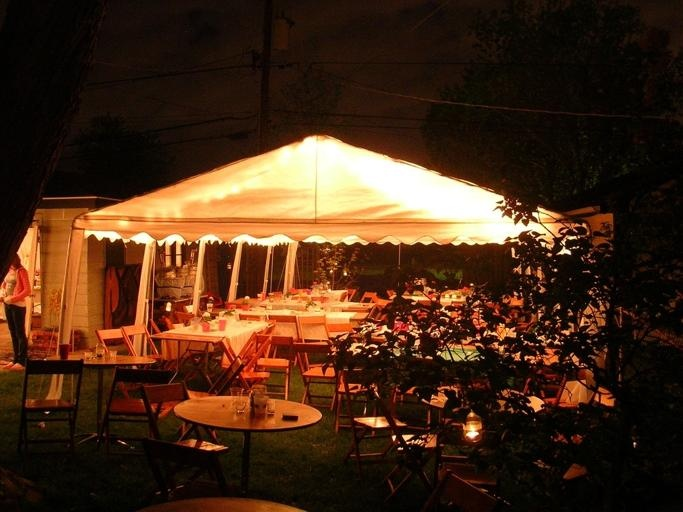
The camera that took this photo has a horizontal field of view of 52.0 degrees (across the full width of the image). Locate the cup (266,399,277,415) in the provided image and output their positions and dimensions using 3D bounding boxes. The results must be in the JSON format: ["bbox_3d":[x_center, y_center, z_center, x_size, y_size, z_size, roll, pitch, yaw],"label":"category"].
[{"bbox_3d":[-0.597,1.311,6.089,0.108,0.183,0.104,0,2,0],"label":"cup"}]

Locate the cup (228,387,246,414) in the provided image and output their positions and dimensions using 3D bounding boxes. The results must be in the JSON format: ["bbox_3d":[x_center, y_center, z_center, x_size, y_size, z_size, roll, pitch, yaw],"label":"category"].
[{"bbox_3d":[-0.912,1.279,6.199,0.176,0.245,0.168,0,-8,0],"label":"cup"}]

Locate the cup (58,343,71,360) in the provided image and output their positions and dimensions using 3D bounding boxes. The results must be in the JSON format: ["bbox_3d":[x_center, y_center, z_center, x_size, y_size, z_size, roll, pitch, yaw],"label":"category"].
[{"bbox_3d":[-2.982,1.040,7.616,0.165,0.166,0.158,-1,-16,0],"label":"cup"}]

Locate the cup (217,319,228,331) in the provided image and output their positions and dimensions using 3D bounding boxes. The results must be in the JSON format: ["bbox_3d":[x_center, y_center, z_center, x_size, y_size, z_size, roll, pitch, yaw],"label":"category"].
[{"bbox_3d":[-1.618,0.923,9.540,0.145,0.145,0.145,0,-7,0],"label":"cup"}]
